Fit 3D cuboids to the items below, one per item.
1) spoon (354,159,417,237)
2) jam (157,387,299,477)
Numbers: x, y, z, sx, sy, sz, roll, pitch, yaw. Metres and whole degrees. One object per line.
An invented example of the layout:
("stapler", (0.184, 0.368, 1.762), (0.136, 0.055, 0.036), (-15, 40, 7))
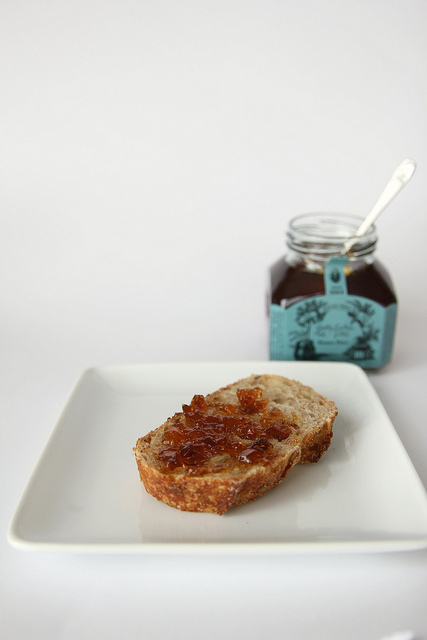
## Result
("spoon", (0.562, -0.399, 2.016), (0.182, 0.244, 0.139), (1, 15, 13))
("jam", (0.042, 0.291, 1.579), (0.259, 0.043, 0.184), (-15, 22, -40))
